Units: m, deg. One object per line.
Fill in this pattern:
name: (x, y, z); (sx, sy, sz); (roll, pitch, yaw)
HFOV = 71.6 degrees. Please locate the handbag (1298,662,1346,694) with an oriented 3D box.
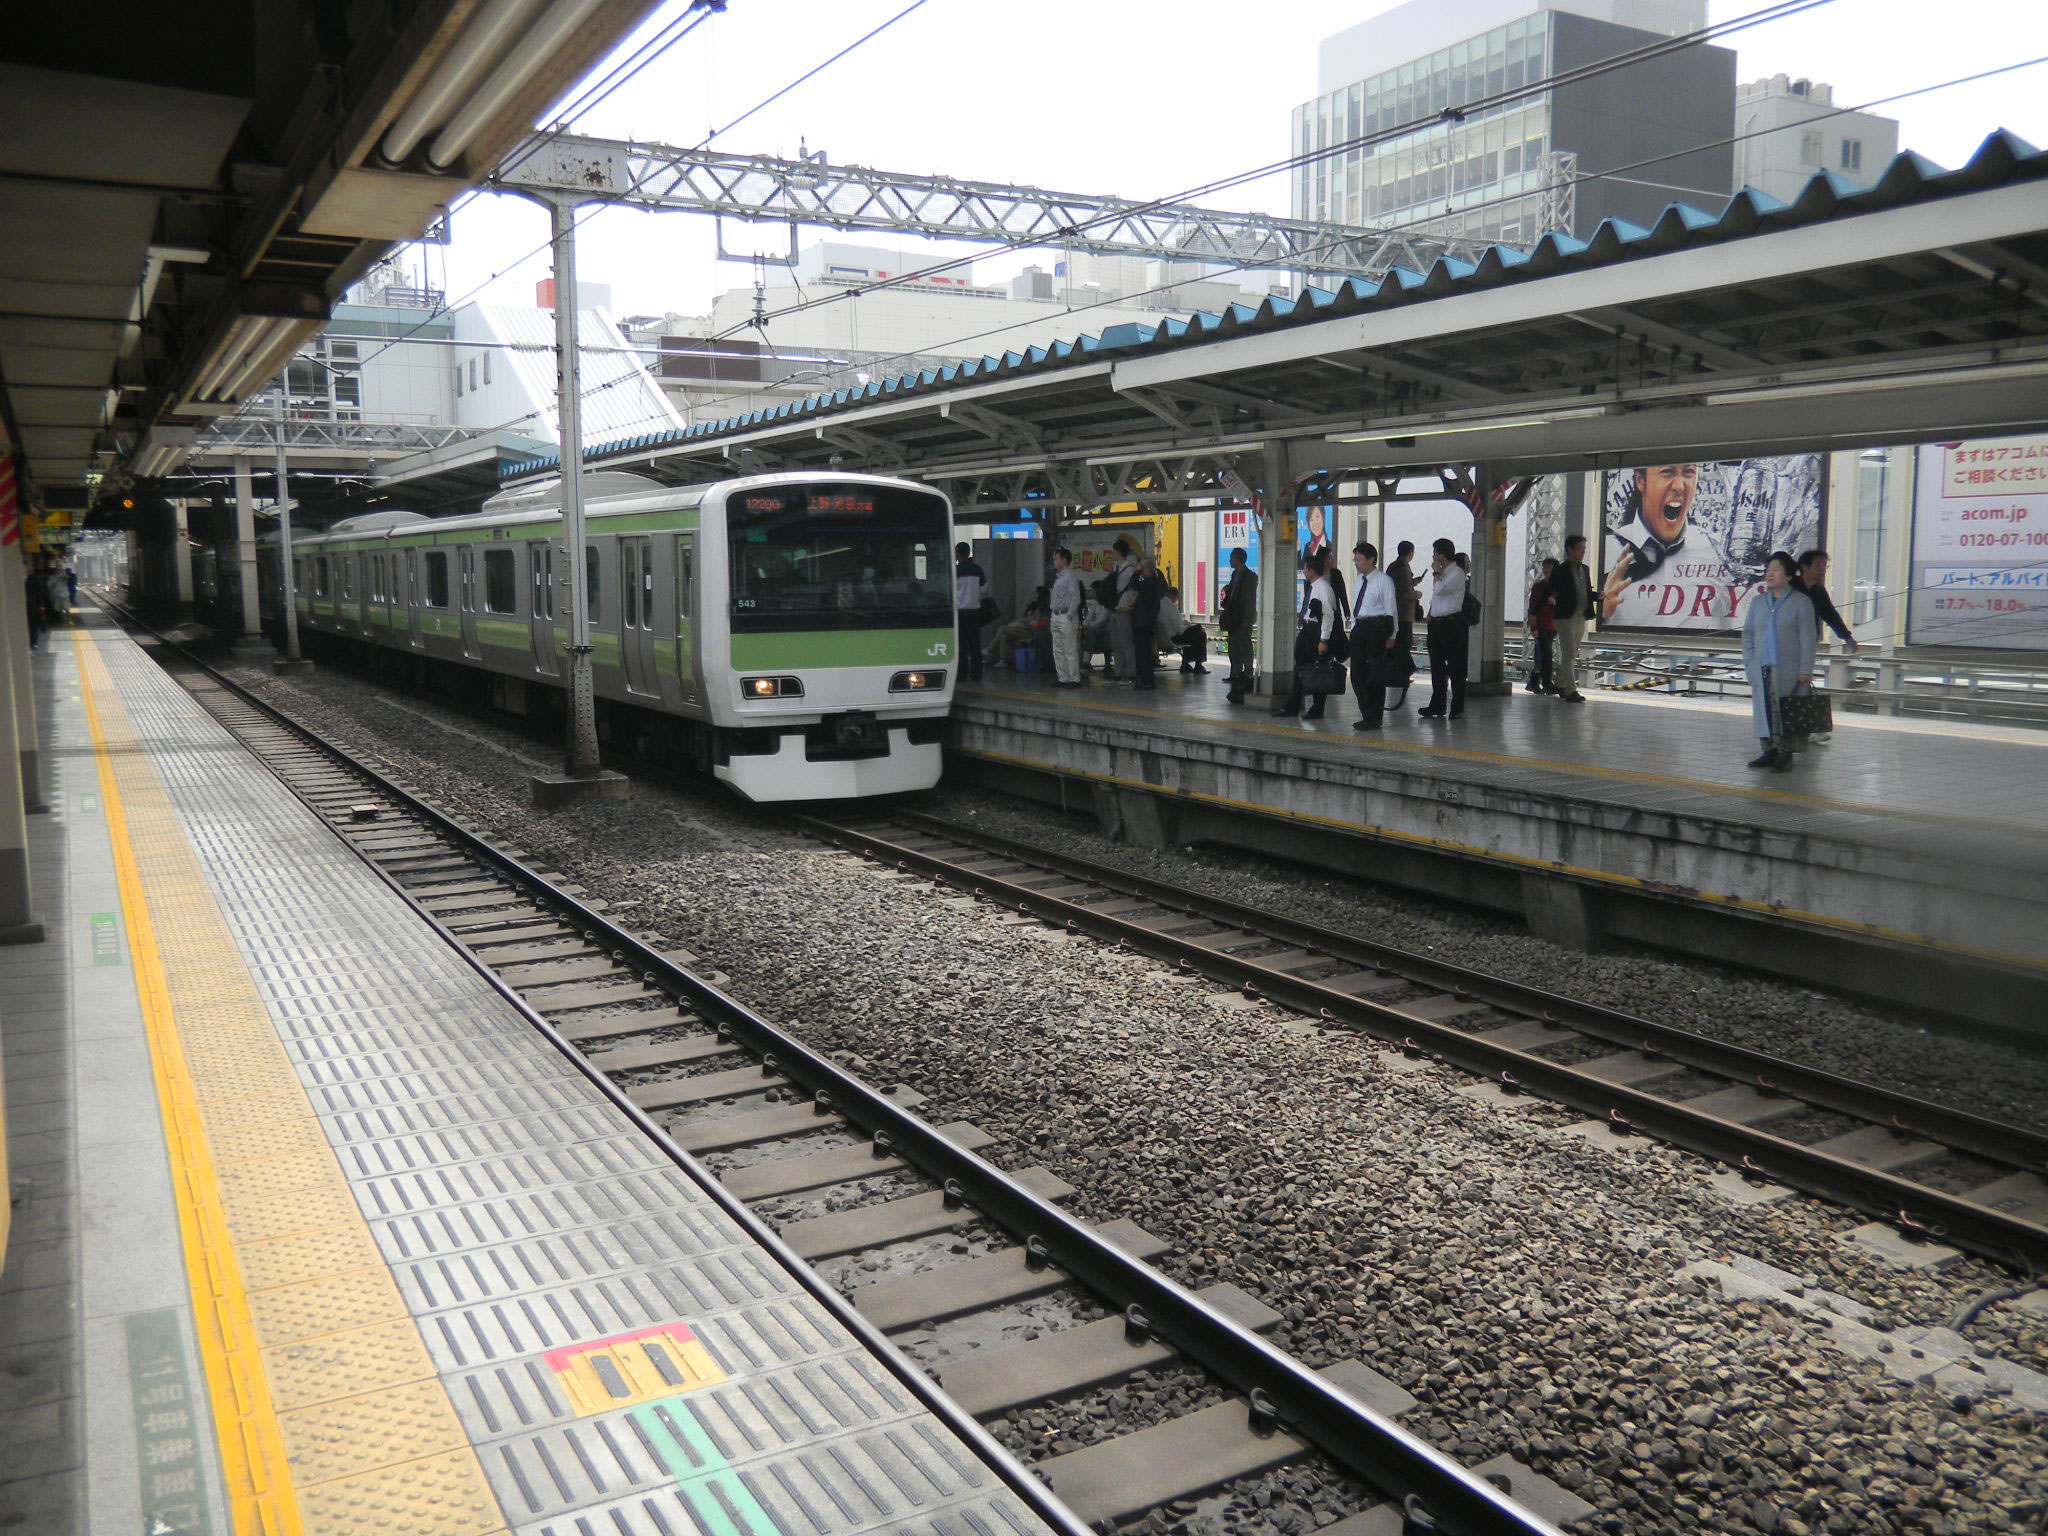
handbag: (3.074, -0.930, 14.766); (0.457, 0.334, 0.345); (0, 12, 1)

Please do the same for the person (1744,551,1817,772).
person: (5.991, -0.845, 11.378); (0.499, 1.737, 0.639); (6, 15, 24)

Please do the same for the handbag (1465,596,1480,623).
handbag: (4.628, -1.645, 14.758); (0.100, 0.289, 0.368); (13, 10, 19)

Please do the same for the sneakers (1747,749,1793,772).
sneakers: (6.040, -0.073, 11.632); (0.380, 0.206, 0.133); (4, 5, 19)
